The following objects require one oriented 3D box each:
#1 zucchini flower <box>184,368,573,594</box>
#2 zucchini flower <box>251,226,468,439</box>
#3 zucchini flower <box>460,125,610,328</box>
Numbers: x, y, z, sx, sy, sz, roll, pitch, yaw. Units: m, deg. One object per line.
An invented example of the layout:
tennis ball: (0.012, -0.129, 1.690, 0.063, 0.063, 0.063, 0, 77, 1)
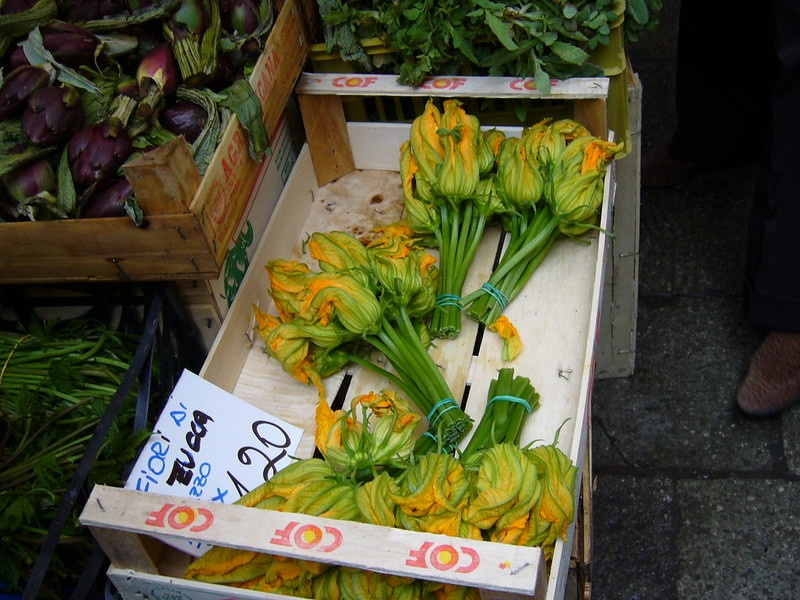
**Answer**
zucchini flower: (0.011, 0.553, 1.892, 0.652, 0.173, 0.687, 11, 48, 23)
zucchini flower: (-0.126, 0.231, 2.324, 0.579, 0.351, 0.760, -21, 55, -40)
zucchini flower: (0.502, -0.263, 2.677, 0.514, 0.406, 0.798, 31, 75, 10)
